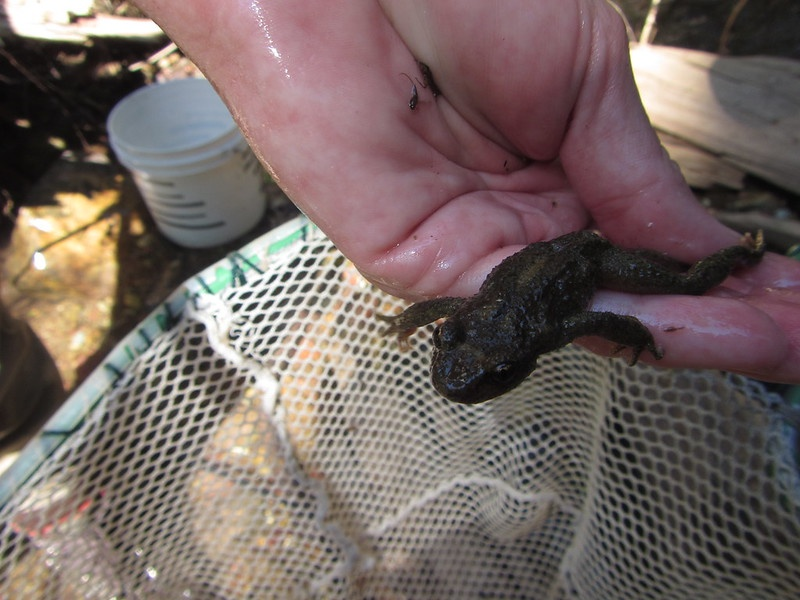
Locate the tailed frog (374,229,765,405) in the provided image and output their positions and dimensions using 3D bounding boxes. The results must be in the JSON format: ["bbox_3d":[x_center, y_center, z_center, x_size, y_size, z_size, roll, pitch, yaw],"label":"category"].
[{"bbox_3d":[0.968,-0.101,4.078,1.774,0.412,0.773,-18,62,-4],"label":"tailed frog"}]

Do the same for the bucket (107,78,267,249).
[{"bbox_3d":[-1.580,-1.260,6.154,1.143,1.439,1.219,-8,35,6],"label":"bucket"}]
